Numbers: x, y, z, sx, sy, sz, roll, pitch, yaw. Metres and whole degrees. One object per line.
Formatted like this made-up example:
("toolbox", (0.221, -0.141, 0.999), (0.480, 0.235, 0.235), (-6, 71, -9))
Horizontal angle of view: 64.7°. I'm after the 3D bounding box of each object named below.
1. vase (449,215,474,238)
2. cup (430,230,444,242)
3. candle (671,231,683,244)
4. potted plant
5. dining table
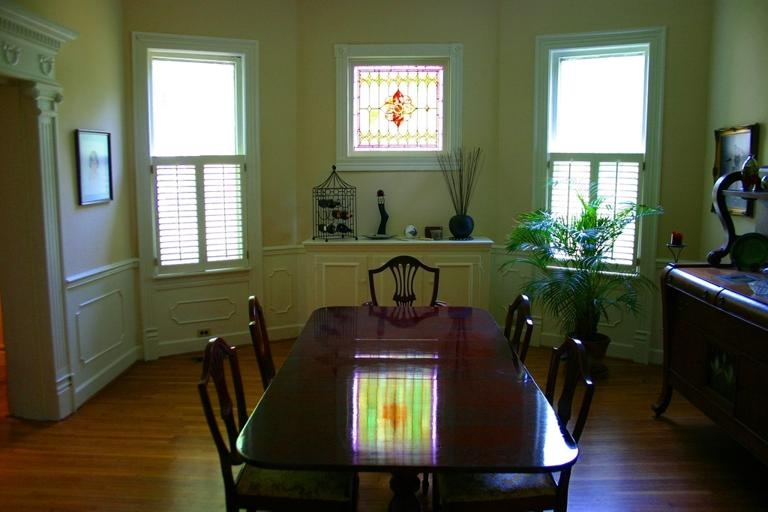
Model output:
("vase", (0.779, -0.294, 6.109), (0.230, 0.227, 0.227), (0, 1, -19))
("cup", (0.543, -0.202, 6.175), (0.095, 0.081, 0.106), (0, 0, 16))
("candle", (2.441, -0.149, 5.050), (0.093, 0.110, 0.097), (-4, -15, 23))
("potted plant", (1.784, 0.219, 6.079), (1.364, 1.452, 1.408), (-2, 9, 0))
("dining table", (0.100, 0.788, 3.652), (1.696, 0.406, 1.482), (0, 11, 0))
